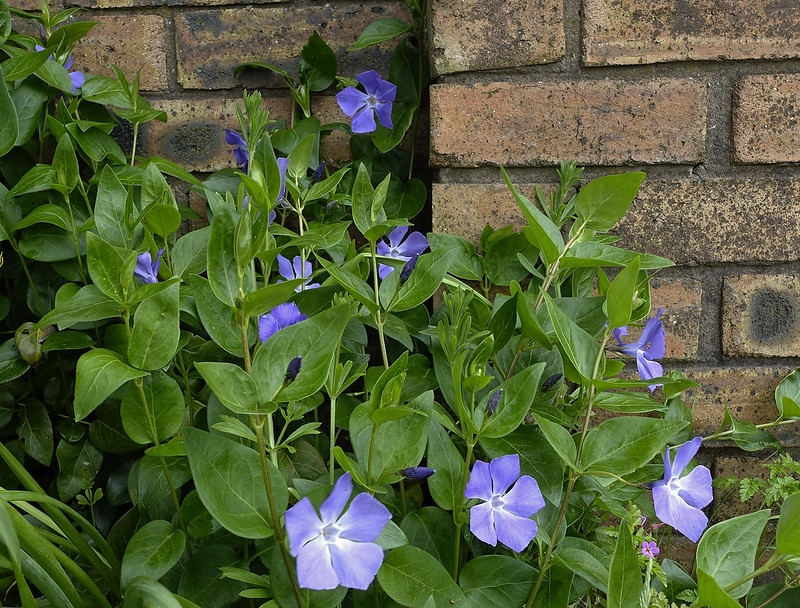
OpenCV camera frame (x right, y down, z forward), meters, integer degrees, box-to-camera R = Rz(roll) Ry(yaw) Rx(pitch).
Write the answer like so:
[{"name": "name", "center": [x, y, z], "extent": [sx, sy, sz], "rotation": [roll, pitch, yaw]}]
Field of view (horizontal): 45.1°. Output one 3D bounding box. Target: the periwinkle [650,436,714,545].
[{"name": "periwinkle", "center": [0.371, 0.242, 1.307], "extent": [0.107, 0.120, 0.051], "rotation": [41, -32, -9]}]

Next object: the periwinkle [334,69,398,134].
[{"name": "periwinkle", "center": [-0.040, -0.349, 1.633], "extent": [0.081, 0.028, 0.113], "rotation": [2, -18, 11]}]

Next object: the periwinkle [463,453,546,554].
[{"name": "periwinkle", "center": [0.128, 0.250, 1.220], "extent": [0.105, 0.041, 0.142], "rotation": [-6, 39, 10]}]

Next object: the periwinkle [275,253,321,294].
[{"name": "periwinkle", "center": [-0.158, -0.038, 1.434], "extent": [0.051, 0.067, 0.020], "rotation": [8, 1, 10]}]

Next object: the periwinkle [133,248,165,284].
[{"name": "periwinkle", "center": [-0.356, -0.052, 1.352], "extent": [0.033, 0.046, 0.025], "rotation": [1, 9, -21]}]

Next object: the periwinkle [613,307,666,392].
[{"name": "periwinkle", "center": [0.354, 0.047, 1.402], "extent": [0.069, 0.137, 0.052], "rotation": [-16, -29, 18]}]

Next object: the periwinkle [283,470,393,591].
[{"name": "periwinkle", "center": [-0.064, 0.261, 1.157], "extent": [0.090, 0.130, 0.146], "rotation": [9, 10, 28]}]
